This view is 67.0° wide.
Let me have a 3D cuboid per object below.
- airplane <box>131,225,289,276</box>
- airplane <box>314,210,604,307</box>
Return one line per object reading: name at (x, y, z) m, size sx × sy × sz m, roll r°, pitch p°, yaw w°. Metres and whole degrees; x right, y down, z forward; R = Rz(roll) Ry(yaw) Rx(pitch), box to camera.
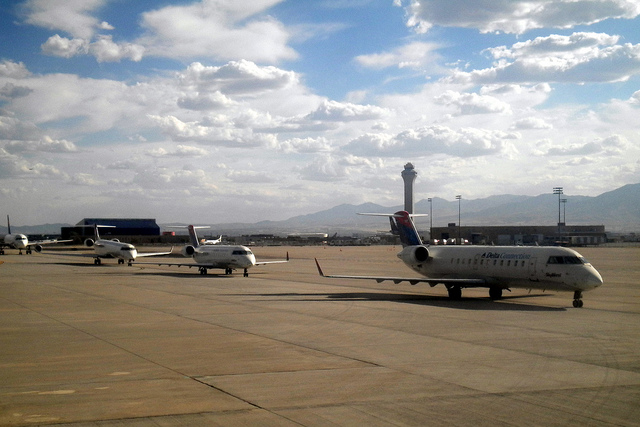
airplane at (-12.640, 4.433, 58.868) m, size 19.714 × 4.316 × 17.413 m, roll 2°, pitch -1°, yaw -34°
airplane at (12.147, 4.284, 33.744) m, size 3.612 × 5.977 × 12.564 m, roll -2°, pitch 1°, yaw -43°
